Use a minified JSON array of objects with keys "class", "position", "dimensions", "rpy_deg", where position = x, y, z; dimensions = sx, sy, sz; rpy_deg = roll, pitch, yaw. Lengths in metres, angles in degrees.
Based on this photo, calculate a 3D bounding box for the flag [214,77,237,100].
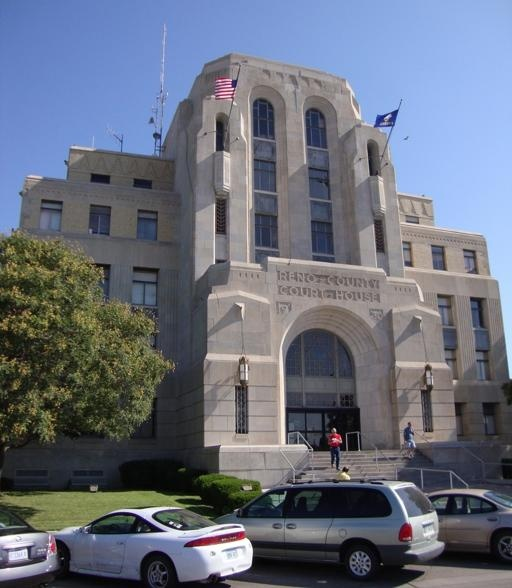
[{"class":"flag","position":[-1.661,-11.301,32.864],"dimensions":[1.084,1.863,1.327],"rpy_deg":[-1,-16,0]}]

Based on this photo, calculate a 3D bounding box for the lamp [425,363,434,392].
[{"class":"lamp","position":[8.473,4.103,29.313],"dimensions":[0.458,1.211,0.641],"rpy_deg":[-6,-17,17]}]

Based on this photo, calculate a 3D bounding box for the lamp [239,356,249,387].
[{"class":"lamp","position":[-0.518,3.284,25.794],"dimensions":[0.412,1.283,0.577],"rpy_deg":[0,-16,-2]}]
